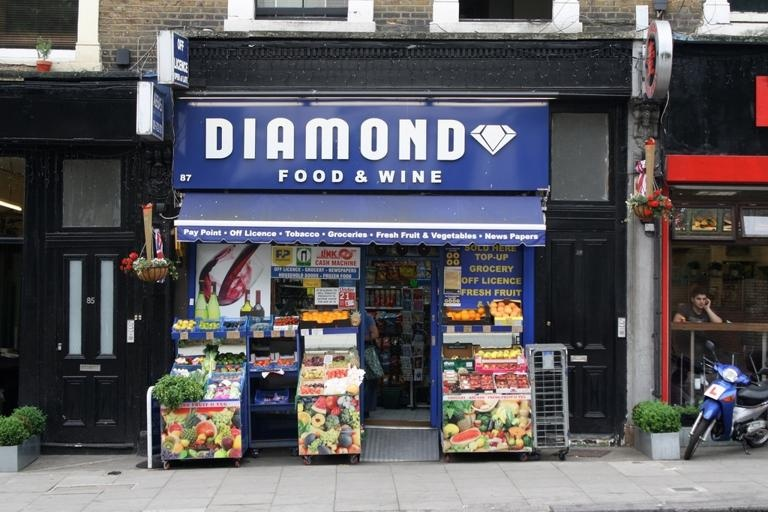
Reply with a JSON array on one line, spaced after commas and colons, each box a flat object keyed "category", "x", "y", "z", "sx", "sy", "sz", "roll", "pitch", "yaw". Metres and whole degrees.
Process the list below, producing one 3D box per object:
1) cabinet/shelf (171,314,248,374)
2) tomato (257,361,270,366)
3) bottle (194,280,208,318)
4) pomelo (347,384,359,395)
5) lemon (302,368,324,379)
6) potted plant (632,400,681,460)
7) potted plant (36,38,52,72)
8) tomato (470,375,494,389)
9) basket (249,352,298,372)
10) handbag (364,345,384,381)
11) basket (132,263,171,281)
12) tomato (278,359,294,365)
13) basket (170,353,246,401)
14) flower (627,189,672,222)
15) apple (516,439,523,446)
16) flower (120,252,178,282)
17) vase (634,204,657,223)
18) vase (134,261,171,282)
[{"category": "cabinet/shelf", "x": -3.121, "y": 1.651, "z": 21.525, "sx": 1.115, "sy": 0.944, "sz": 0.378, "roll": 0, "pitch": -6, "yaw": -1}, {"category": "tomato", "x": -2.184, "y": 1.964, "z": 21.579, "sx": 0.146, "sy": 0.047, "sz": 0.111, "roll": 3, "pitch": 6, "yaw": 0}, {"category": "bottle", "x": -3.367, "y": 0.827, "z": 21.957, "sx": 0.216, "sy": 0.680, "sz": 0.200, "roll": -2, "pitch": -1, "yaw": 0}, {"category": "pomelo", "x": -0.524, "y": 2.377, "z": 21.068, "sx": 0.273, "sy": 0.183, "sz": 0.130, "roll": -2, "pitch": -1, "yaw": -35}, {"category": "lemon", "x": -1.270, "y": 2.113, "z": 21.309, "sx": 0.451, "sy": 0.227, "sz": 0.343, "roll": -2, "pitch": -1, "yaw": -5}, {"category": "potted plant", "x": 4.960, "y": 3.146, "z": 21.666, "sx": 0.873, "sy": 0.958, "sz": 1.016, "roll": -1, "pitch": -3, "yaw": 3}, {"category": "potted plant", "x": -6.267, "y": -3.719, "z": 22.040, "sx": 0.278, "sy": 0.640, "sz": 0.338, "roll": -2, "pitch": -1, "yaw": -20}, {"category": "tomato", "x": 1.755, "y": 2.277, "z": 21.257, "sx": 0.288, "sy": 0.073, "sz": 0.255, "roll": 0, "pitch": 23, "yaw": 2}, {"category": "basket", "x": -1.992, "y": 1.945, "z": 21.615, "sx": 0.890, "sy": 0.358, "sz": 0.218, "roll": -2, "pitch": -1, "yaw": -9}, {"category": "handbag", "x": -0.188, "y": 2.082, "z": 22.902, "sx": 0.294, "sy": 0.700, "sz": 0.640, "roll": -2, "pitch": -1, "yaw": 4}, {"category": "basket", "x": -4.103, "y": 0.325, "z": 21.407, "sx": 0.381, "sy": 0.194, "sz": 0.375, "roll": -1, "pitch": -3, "yaw": 25}, {"category": "tomato", "x": -1.753, "y": 1.941, "z": 21.618, "sx": 0.177, "sy": 0.055, "sz": 0.131, "roll": 1, "pitch": 0, "yaw": 35}, {"category": "basket", "x": -3.091, "y": 2.180, "z": 21.244, "sx": 1.255, "sy": 0.780, "sz": 0.715, "roll": -2, "pitch": -1, "yaw": -6}, {"category": "flower", "x": 4.801, "y": -0.902, "z": 21.490, "sx": 0.662, "sy": 0.447, "sz": 0.643, "roll": 3, "pitch": 5, "yaw": 9}, {"category": "apple", "x": 2.391, "y": 3.319, "z": 21.094, "sx": 0.112, "sy": 0.104, "sz": 0.116, "roll": -9, "pitch": 7, "yaw": -43}, {"category": "flower", "x": -4.304, "y": 0.237, "z": 21.475, "sx": 0.699, "sy": 0.353, "sz": 0.690, "roll": -3, "pitch": -5, "yaw": 29}, {"category": "vase", "x": 4.705, "y": -0.753, "z": 21.623, "sx": 0.334, "sy": 0.251, "sz": 0.320, "roll": 1, "pitch": -4, "yaw": 7}, {"category": "vase", "x": -4.125, "y": 0.279, "z": 21.475, "sx": 0.467, "sy": 0.286, "sz": 0.445, "roll": 1, "pitch": -4, "yaw": 2}]
